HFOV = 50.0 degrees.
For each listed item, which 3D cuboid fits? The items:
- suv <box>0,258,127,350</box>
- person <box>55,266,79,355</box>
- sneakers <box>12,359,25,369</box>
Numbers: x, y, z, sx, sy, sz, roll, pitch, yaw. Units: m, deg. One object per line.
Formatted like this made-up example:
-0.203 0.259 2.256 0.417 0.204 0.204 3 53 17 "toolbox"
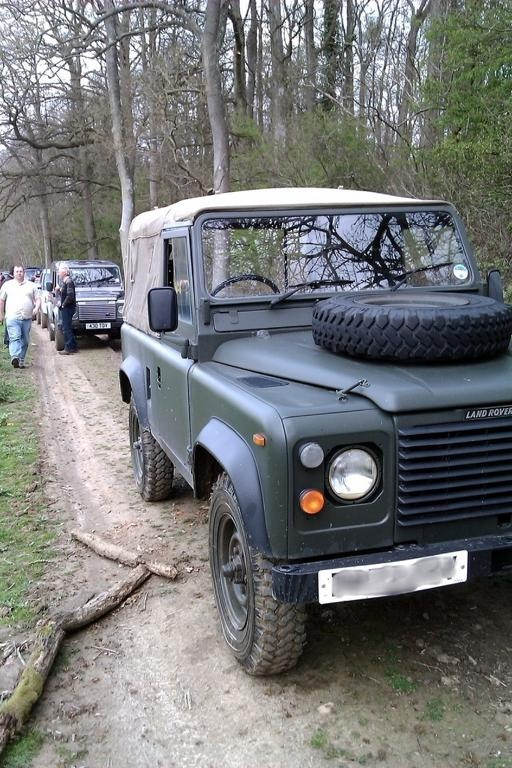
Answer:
-4.877 -2.423 16.181 2.416 2.514 4.457 -5 10 -25 "suv"
-4.669 -1.853 13.591 0.425 2.157 1.285 -6 5 -19 "person"
-4.976 -0.439 11.489 0.114 0.347 0.149 1 47 -5 "sneakers"
